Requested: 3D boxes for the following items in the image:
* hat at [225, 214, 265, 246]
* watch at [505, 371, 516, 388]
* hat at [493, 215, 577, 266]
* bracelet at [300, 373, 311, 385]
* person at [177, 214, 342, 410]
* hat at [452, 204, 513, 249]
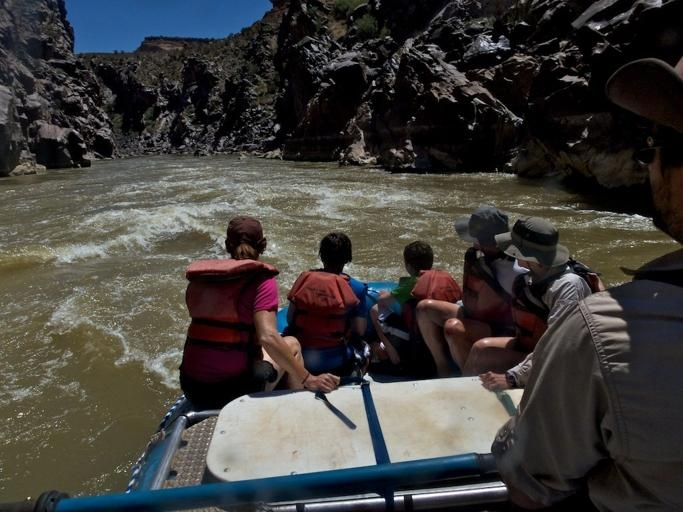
[{"bbox_3d":[-0.602,-0.167,2.942,0.174,0.116,0.245,-2,16,-4],"label":"hat"},{"bbox_3d":[0.867,0.636,2.399,0.051,0.065,0.023,-17,-11,-39],"label":"watch"},{"bbox_3d":[1.092,-0.077,2.668,0.351,0.147,0.334,14,34,24],"label":"hat"},{"bbox_3d":[-0.189,0.642,2.451,0.013,0.041,0.045,24,6,-21],"label":"bracelet"},{"bbox_3d":[-0.464,0.352,2.645,0.874,1.078,0.528,7,14,36],"label":"person"},{"bbox_3d":[0.987,-0.226,3.300,0.369,0.147,0.332,-7,34,-11],"label":"hat"}]
